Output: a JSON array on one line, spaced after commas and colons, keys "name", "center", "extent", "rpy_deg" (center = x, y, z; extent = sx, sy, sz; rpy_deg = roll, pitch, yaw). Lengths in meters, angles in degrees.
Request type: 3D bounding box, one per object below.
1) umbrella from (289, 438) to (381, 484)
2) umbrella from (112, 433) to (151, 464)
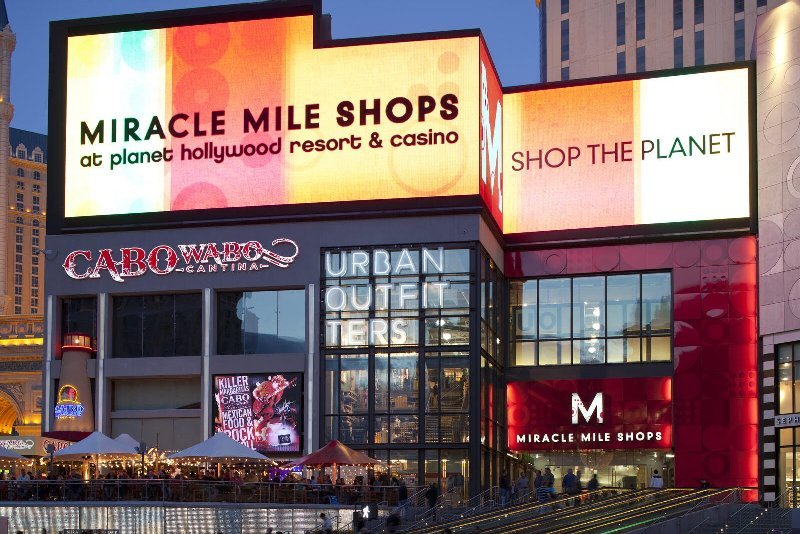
[{"name": "umbrella", "center": [-3.637, 11.598, 97.697], "extent": [3.971, 1.858, 3.954], "rpy_deg": [-1, -3, -21]}, {"name": "umbrella", "center": [-16.146, 10.882, 97.212], "extent": [2.264, 0.887, 2.158], "rpy_deg": [0, -11, 4]}]
